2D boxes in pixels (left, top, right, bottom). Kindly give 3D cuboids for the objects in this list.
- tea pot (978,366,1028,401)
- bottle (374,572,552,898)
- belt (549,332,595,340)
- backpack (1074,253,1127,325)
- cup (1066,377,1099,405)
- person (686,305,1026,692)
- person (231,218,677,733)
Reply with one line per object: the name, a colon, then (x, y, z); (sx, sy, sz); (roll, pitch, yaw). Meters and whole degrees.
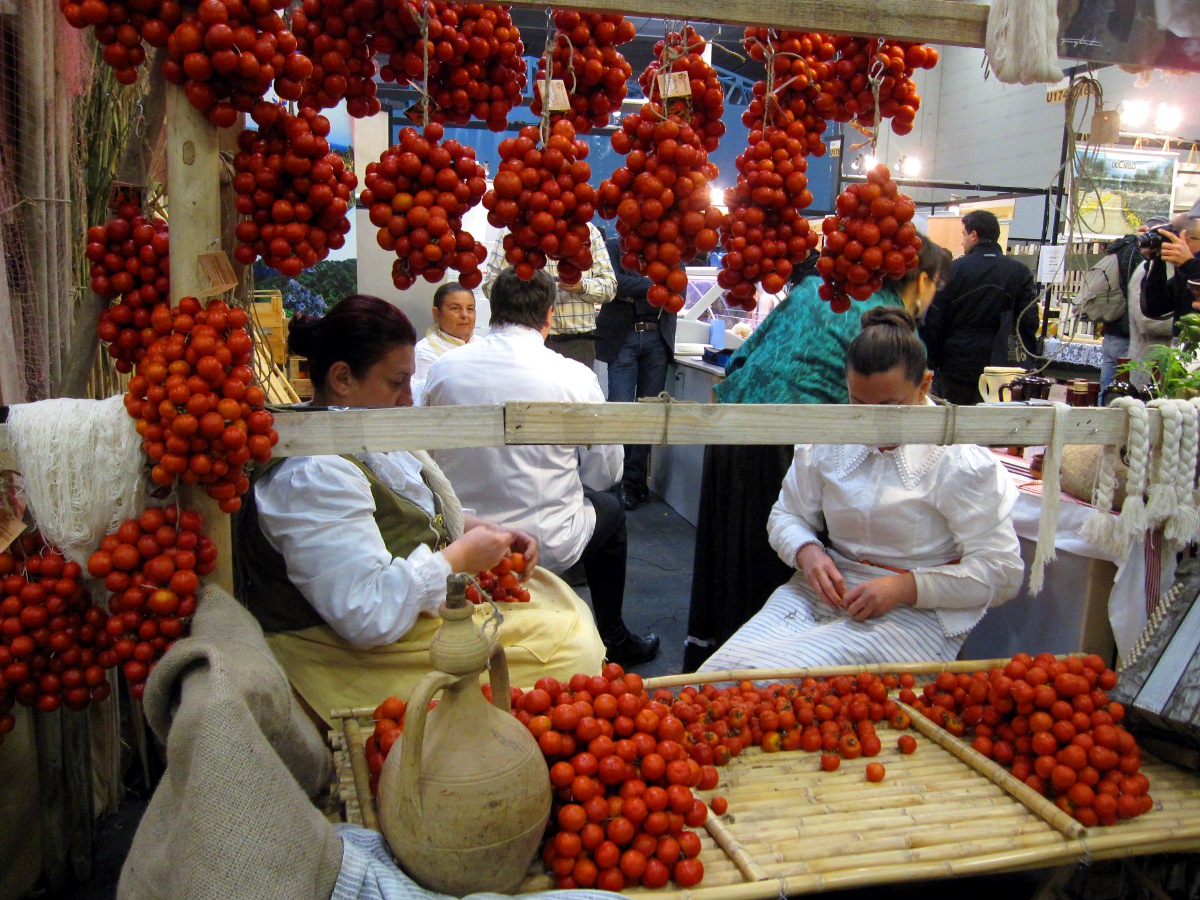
tea pot: (1.712, -0.283, 3.557); (0.192, 0.204, 0.156); (2, 10, 10)
bottle: (-0.252, 0.539, 1.529); (0.309, 0.592, 0.161); (-4, 14, -19)
belt: (-0.204, -0.759, 5.476); (0.190, 0.049, 0.182); (-3, 5, -28)
backpack: (3.277, -1.058, 5.407); (0.197, 0.445, 0.304); (-12, 18, -43)
cup: (1.777, -0.213, 3.046); (0.075, 0.084, 0.168); (6, 14, 21)
person: (0.778, -0.017, 3.141); (1.184, 1.734, 0.937); (-12, 17, -30)
person: (-0.534, -0.072, 2.801); (1.171, 1.670, 0.871); (-7, 23, -17)
